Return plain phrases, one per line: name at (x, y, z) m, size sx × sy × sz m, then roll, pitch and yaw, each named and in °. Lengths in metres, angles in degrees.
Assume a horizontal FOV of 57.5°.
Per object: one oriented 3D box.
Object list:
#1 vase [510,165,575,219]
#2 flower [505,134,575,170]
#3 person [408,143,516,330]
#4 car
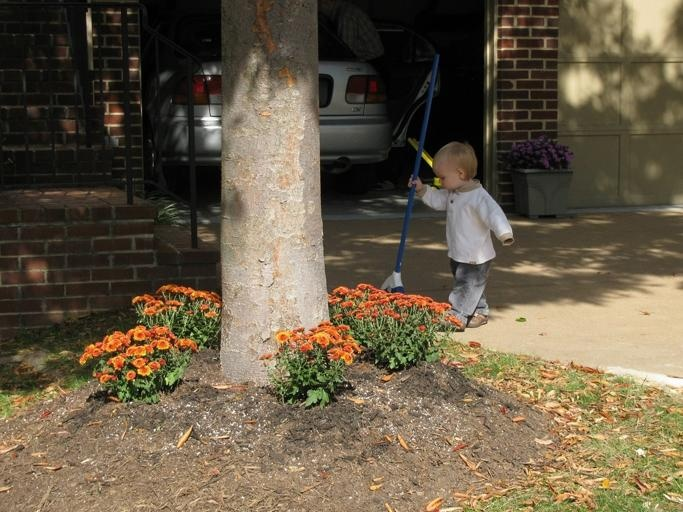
vase at (3.011, -0.895, 9.521) m, size 0.870 × 0.706 × 0.640 m, roll 0°, pitch 15°, yaw -4°
flower at (2.931, -1.380, 9.188) m, size 0.723 × 0.383 × 0.659 m, roll 3°, pitch 10°, yaw 11°
person at (0.957, -0.134, 5.014) m, size 0.748 × 1.414 × 0.860 m, roll 1°, pitch 11°, yaw 6°
car at (-1.127, -2.211, 9.723) m, size 3.973 × 2.541 × 3.304 m, roll -5°, pitch 14°, yaw -18°
